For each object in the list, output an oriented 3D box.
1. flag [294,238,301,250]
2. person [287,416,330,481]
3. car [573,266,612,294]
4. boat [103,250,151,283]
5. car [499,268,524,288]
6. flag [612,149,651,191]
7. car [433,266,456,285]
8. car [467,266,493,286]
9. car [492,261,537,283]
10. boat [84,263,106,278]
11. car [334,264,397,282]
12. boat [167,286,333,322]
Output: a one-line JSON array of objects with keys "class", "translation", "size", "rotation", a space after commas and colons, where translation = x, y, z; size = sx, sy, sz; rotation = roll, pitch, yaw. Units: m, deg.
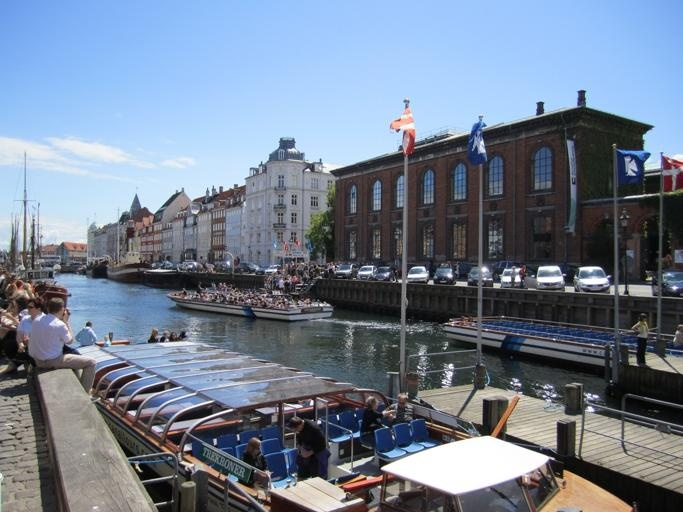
[{"class": "flag", "translation": [-6.219, -1.621, 87.174], "size": [0.348, 1.415, 0.885], "rotation": [1, -7, 23]}, {"class": "person", "translation": [-0.574, 3.779, 11.866], "size": [0.628, 1.133, 0.382], "rotation": [1, -2, -2]}, {"class": "car", "translation": [13.097, 1.266, 32.162], "size": [1.083, 0.892, 1.815], "rotation": [-2, -5, 11]}, {"class": "boat", "translation": [-31.612, 1.785, 90.193], "size": [3.875, 4.548, 14.542], "rotation": [0, -2, -24]}, {"class": "car", "translation": [10.175, 1.372, 36.343], "size": [1.161, 0.890, 2.571], "rotation": [-2, -1, 17]}, {"class": "flag", "translation": [10.928, -3.400, 23.079], "size": [1.267, 1.315, 0.821], "rotation": [2, -3, -43]}, {"class": "car", "translation": [7.018, 1.345, 41.826], "size": [1.341, 1.065, 1.756], "rotation": [0, -2, 6]}, {"class": "car", "translation": [9.102, 1.104, 40.094], "size": [1.836, 1.618, 4.345], "rotation": [-1, -6, 11]}, {"class": "car", "translation": [12.523, 1.268, 43.392], "size": [3.591, 1.373, 1.647], "rotation": [-1, 1, 30]}, {"class": "boat", "translation": [-44.981, 2.845, 112.163], "size": [2.852, 2.604, 12.770], "rotation": [3, 2, -24]}, {"class": "car", "translation": [1.884, 1.388, 49.725], "size": [3.301, 1.214, 7.287], "rotation": [1, -2, -19]}, {"class": "boat", "translation": [-7.475, 3.759, 46.520], "size": [15.762, 1.703, 3.541], "rotation": [-2, -3, 45]}]
